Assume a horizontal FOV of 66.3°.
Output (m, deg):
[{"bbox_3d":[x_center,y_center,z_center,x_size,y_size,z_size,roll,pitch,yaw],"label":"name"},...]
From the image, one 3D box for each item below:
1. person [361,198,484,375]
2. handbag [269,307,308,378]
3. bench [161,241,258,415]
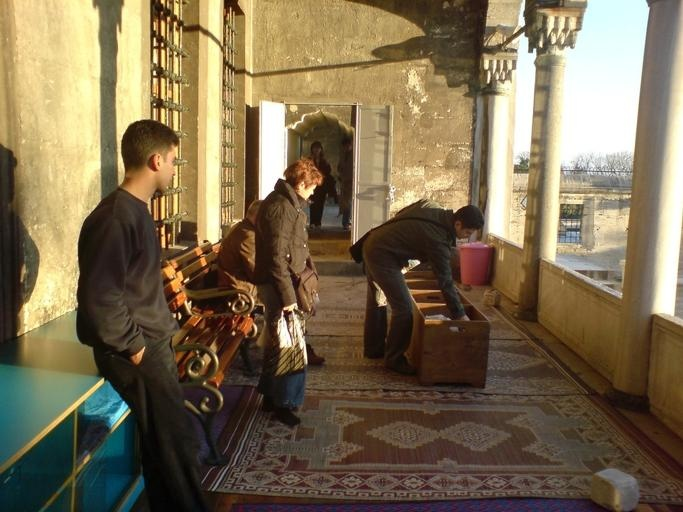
[{"bbox_3d":[0.819,0.293,5.496,1.344,1.712,1.059,9,8,19],"label":"person"},{"bbox_3d":[-0.412,0.716,4.247,0.270,0.579,0.423,-3,-24,7],"label":"handbag"},{"bbox_3d":[-1.026,0.563,4.093,0.422,0.548,1.312,3,17,-2],"label":"bench"}]
